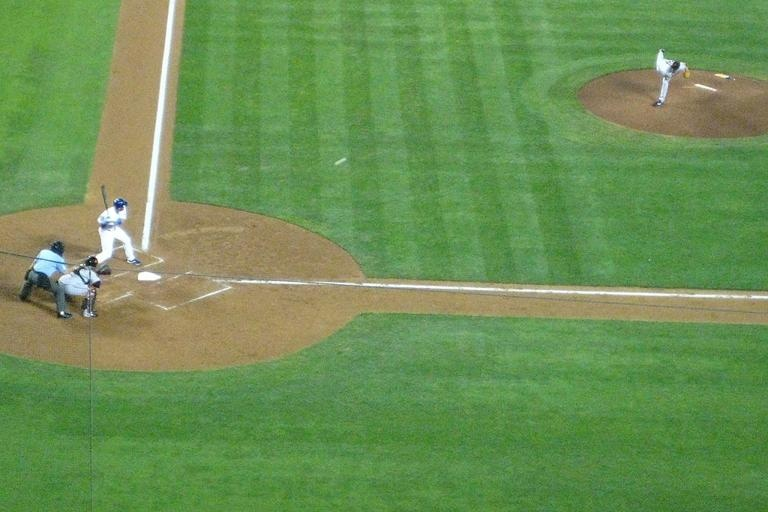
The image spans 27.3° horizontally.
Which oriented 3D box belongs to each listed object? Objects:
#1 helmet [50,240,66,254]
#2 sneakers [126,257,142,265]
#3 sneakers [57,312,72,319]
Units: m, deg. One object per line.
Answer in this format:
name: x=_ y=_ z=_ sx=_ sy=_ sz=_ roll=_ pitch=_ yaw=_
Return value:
helmet: x=-11.395 y=-0.225 z=55.172 sx=0.533 sy=0.440 sz=0.550 roll=6 pitch=14 yaw=3
sneakers: x=-9.033 y=0.268 z=57.051 sx=0.456 sy=0.157 sz=0.193 roll=2 pitch=43 yaw=-7
sneakers: x=-11.080 y=2.116 z=54.721 sx=0.437 sy=0.157 sz=0.223 roll=3 pitch=8 yaw=2
